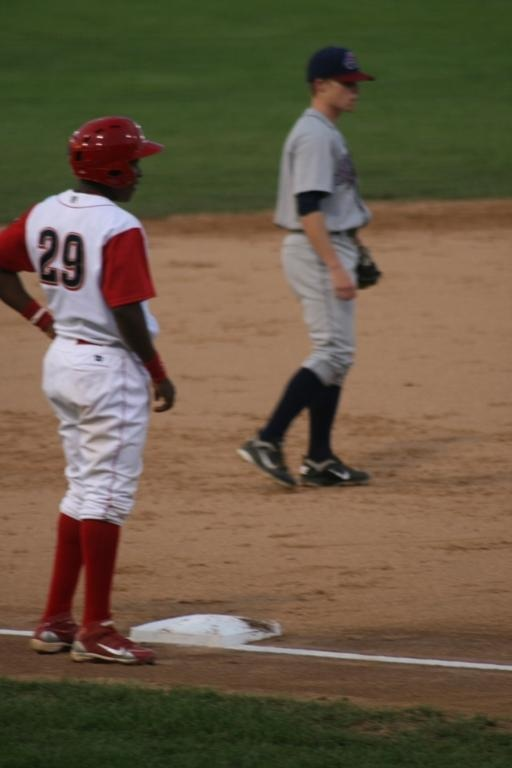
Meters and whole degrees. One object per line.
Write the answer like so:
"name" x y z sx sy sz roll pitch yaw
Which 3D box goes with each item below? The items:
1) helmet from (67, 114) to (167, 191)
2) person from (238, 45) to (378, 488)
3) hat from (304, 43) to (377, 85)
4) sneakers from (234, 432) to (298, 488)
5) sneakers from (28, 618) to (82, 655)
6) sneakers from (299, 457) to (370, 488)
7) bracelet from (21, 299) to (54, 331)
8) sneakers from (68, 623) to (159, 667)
"helmet" -0.434 -0.719 4.518 0.311 0.206 0.194 -5 24 -22
"person" 0.264 -0.466 6.113 0.513 1.840 0.527 11 9 17
"hat" 0.339 -1.303 6.021 0.266 0.123 0.168 0 22 9
"sneakers" 0.046 0.309 6.223 0.329 0.150 0.111 35 3 -9
"sneakers" -0.612 0.762 4.489 0.073 0.076 0.183 4 4 26
"sneakers" 0.325 0.366 6.260 0.278 0.108 0.121 2 5 -7
"bracelet" -0.683 -0.221 4.659 0.105 0.036 0.096 34 30 -14
"sneakers" -0.434 0.774 4.425 0.277 0.115 0.100 4 4 -5
